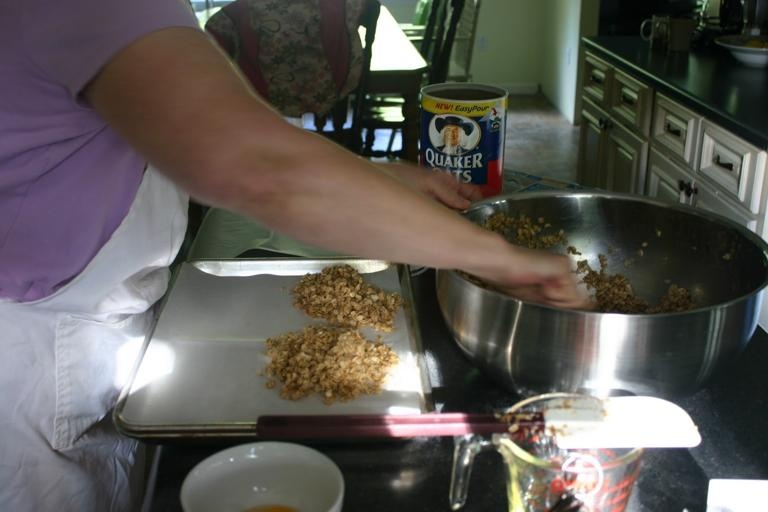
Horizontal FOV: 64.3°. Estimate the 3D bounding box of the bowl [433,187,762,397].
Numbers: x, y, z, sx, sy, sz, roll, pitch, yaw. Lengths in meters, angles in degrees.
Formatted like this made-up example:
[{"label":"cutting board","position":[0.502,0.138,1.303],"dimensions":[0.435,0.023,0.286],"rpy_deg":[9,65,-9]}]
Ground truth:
[{"label":"bowl","position":[0.317,0.015,0.840],"dimensions":[0.340,0.160,0.348],"rpy_deg":[-2,14,0]}]
